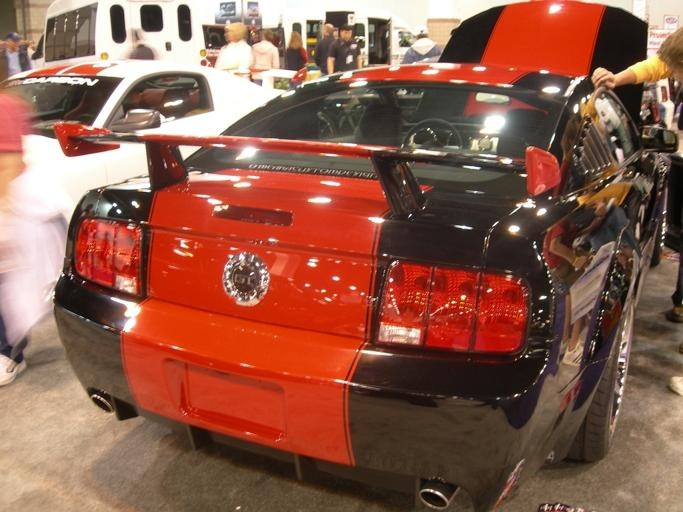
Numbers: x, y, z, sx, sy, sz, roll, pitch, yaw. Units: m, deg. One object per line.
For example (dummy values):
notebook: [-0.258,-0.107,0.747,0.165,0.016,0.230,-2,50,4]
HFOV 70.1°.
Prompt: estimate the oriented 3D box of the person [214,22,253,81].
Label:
person: [-1.767,-3.265,7.913,0.670,0.963,0.553,3,13,1]

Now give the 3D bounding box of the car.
car: [0.637,-0.256,2.476,1.638,0.981,3.377,9,25,30]
